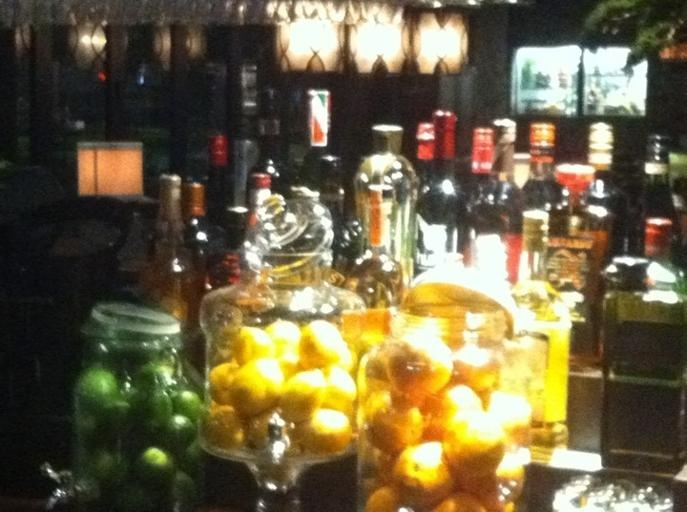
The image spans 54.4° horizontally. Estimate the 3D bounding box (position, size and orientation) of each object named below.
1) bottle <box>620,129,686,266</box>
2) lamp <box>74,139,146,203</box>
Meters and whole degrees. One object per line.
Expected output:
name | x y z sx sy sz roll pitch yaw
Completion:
bottle | 0.494 -0.089 1.049 0.090 0.200 0.041 4 10 24
lamp | -0.400 -0.147 1.146 0.107 0.097 0.079 2 9 4
